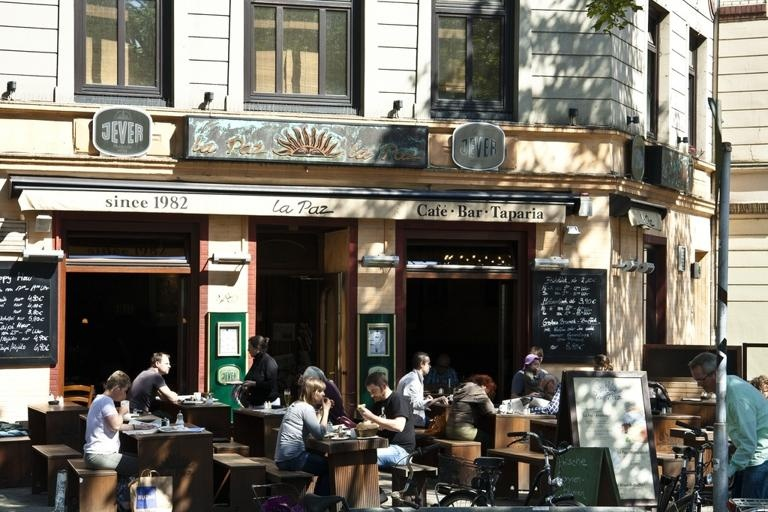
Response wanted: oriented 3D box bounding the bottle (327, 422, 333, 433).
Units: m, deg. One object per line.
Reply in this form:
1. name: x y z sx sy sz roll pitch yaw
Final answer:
1. bottle: -0.812 2.631 18.051 0.079 0.136 0.080 0 -6 0

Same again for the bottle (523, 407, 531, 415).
1. bottle: 2.399 2.600 19.852 0.103 0.105 0.179 6 -4 0

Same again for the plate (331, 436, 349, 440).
1. plate: -0.659 2.691 17.603 0.292 0.056 0.302 1 -4 -1

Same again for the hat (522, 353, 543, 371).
1. hat: 2.705 1.930 21.715 0.295 0.255 0.297 -1 7 16

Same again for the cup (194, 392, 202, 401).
1. cup: -3.239 2.456 20.661 0.143 0.127 0.113 -1 -2 -20

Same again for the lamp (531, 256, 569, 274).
1. lamp: 3.221 0.138 22.758 0.665 0.307 0.240 0 -4 5

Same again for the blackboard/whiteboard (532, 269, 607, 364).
1. blackboard/whiteboard: 3.497 1.179 22.744 1.757 2.071 0.160 1 -3 -16

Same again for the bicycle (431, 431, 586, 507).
1. bicycle: 1.697 3.142 17.029 1.894 1.205 1.125 -3 -7 7

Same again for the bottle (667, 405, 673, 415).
1. bottle: 4.877 2.642 20.203 0.110 0.128 0.111 2 -7 -11

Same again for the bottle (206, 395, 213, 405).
1. bottle: -3.005 2.496 20.528 0.120 0.176 0.112 3 1 0

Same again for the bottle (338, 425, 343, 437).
1. bottle: -0.660 2.630 17.912 0.081 0.132 0.079 0 -6 0

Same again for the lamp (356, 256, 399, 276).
1. lamp: -0.097 0.143 22.293 0.736 0.327 0.278 1 -4 -3

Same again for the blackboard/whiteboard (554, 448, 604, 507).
1. blackboard/whiteboard: 2.776 3.122 16.688 0.708 0.906 0.485 1 -10 33

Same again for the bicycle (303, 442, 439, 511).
1. bicycle: -0.257 3.170 18.061 1.383 1.167 1.209 -1 -2 -20

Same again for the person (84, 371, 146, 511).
1. person: -4.146 2.794 17.934 0.779 2.080 0.926 2 -4 -16

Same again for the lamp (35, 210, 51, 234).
1. lamp: -6.046 -0.580 21.013 0.312 0.336 0.254 2 -4 -17

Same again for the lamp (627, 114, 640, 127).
1. lamp: 4.925 -2.676 23.371 0.186 0.190 0.250 4 -3 -32

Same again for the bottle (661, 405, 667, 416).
1. bottle: 4.743 2.629 20.032 0.087 0.142 0.086 5 -13 1

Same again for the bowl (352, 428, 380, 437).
1. bowl: -0.274 2.630 17.704 0.348 0.157 0.143 1 -4 -2

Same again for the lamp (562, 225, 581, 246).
1. lamp: 3.571 -0.389 22.883 0.364 0.371 0.504 -2 -8 3

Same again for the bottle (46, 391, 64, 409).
1. bottle: -5.764 2.528 20.766 0.184 0.246 0.603 3 -10 -27
